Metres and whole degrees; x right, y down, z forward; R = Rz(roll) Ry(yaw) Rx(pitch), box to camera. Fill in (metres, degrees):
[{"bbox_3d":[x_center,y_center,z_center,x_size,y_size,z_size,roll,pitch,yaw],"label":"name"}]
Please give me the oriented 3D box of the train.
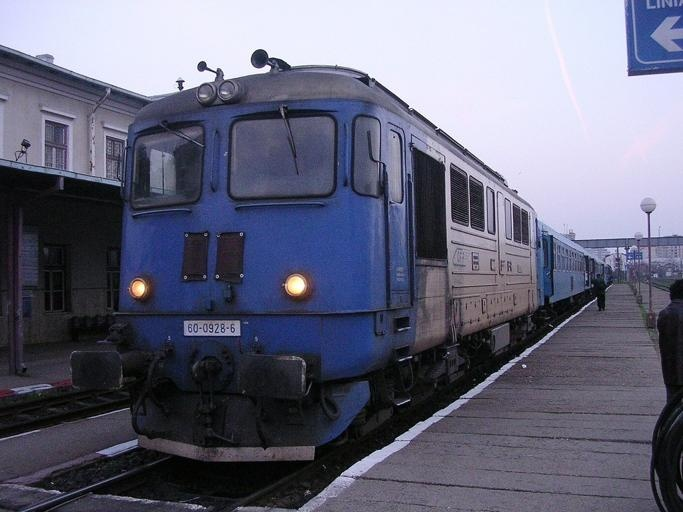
[{"bbox_3d":[0.122,-0.040,6.997,2.366,4.844,6.495,-3,-1,44],"label":"train"}]
